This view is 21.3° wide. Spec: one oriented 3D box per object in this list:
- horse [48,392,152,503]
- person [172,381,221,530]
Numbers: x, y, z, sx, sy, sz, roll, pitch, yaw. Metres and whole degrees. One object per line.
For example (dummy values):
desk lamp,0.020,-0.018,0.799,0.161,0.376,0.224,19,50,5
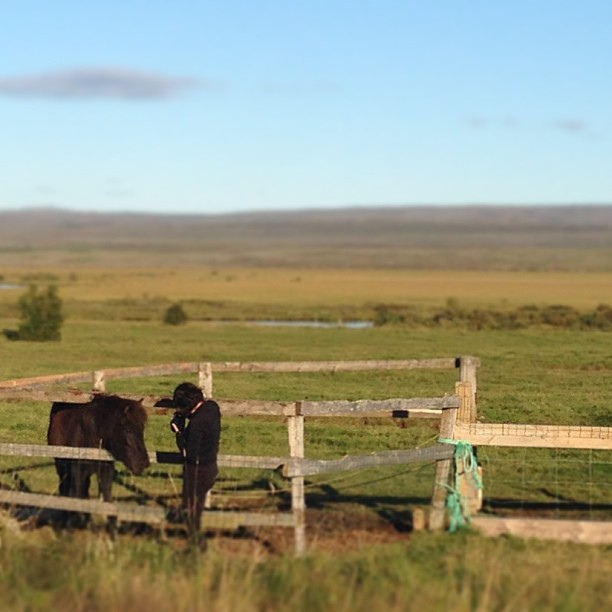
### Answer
horse,-3.151,2.304,25.279,1.512,1.902,3.161,-1,4,-9
person,-1.577,2.230,24.151,0.708,2.119,0.877,-1,4,-6
